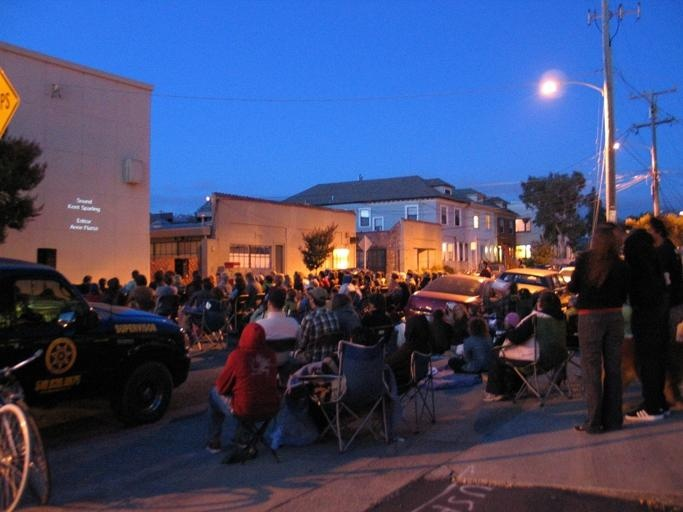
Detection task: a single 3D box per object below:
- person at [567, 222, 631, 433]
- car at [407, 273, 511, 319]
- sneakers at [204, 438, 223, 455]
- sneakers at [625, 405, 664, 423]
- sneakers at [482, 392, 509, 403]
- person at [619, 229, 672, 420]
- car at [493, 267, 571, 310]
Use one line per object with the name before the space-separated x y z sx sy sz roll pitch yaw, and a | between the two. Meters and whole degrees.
person | 2.993 0.837 7.433 0.628 2.391 0.402 -1 6 11
car | 2.853 1.169 15.815 1.037 0.876 2.409 -4 3 32
sneakers | -1.523 2.248 7.631 0.201 0.162 0.177 -3 7 -4
sneakers | 3.590 1.900 7.689 0.444 0.212 0.182 3 -7 14
sneakers | 2.182 2.027 9.145 0.124 0.191 0.371 10 -20 -34
person | 3.804 0.749 7.835 0.522 2.366 0.807 3 -11 -4
car | 5.198 0.714 17.902 1.361 1.097 2.797 2 2 39
